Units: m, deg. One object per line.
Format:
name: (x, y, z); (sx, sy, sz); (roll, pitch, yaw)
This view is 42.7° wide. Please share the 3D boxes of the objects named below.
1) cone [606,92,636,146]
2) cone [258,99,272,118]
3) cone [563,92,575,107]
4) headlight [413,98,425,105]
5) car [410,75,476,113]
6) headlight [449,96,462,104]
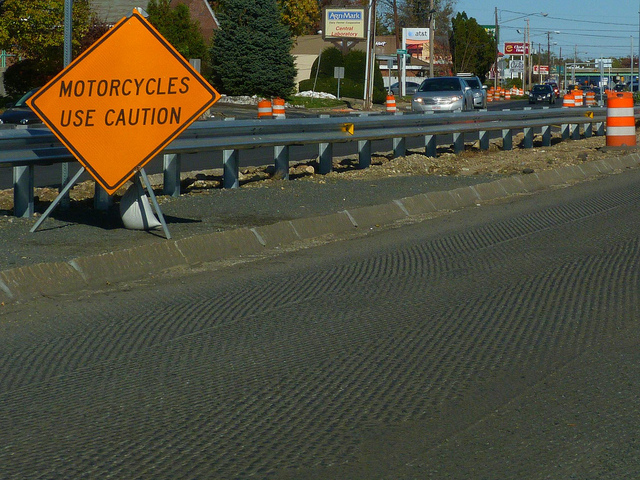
cone: (7.267, -2.935, 19.779); (0.583, 1.565, 0.535); (12, 16, 36)
cone: (-1.787, -4.309, 26.532); (0.585, 0.680, 0.609); (5, 8, 34)
cone: (10.065, -5.672, 32.889); (0.333, 0.446, 1.401); (2, 13, 13)
headlight: (3.749, -5.246, 30.519); (0.236, 0.109, 0.309); (11, 15, -21)
car: (4.564, -5.545, 30.781); (1.941, 1.230, 2.619); (5, 14, 25)
headlight: (5.016, -5.198, 30.019); (0.233, 0.083, 0.334); (7, 21, 32)
